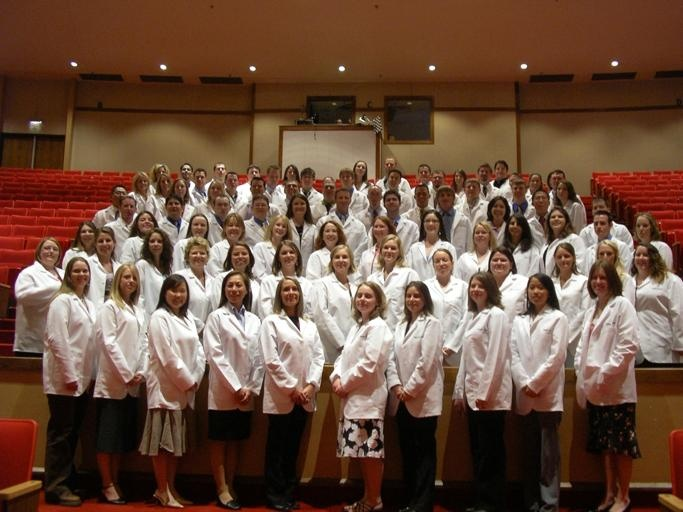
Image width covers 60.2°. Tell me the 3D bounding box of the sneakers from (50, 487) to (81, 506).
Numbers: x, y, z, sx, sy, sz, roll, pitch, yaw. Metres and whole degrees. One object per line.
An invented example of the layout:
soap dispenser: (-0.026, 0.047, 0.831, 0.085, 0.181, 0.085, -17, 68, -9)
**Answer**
sneakers: (-2.744, 2.393, 5.919, 0.295, 0.159, 0.144, 0, -11, 7)

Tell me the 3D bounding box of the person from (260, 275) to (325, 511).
person: (-0.522, 1.376, 6.057, 0.645, 2.281, 0.453, 2, 0, -11)

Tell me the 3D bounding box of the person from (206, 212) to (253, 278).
person: (-1.423, -0.048, 7.648, 0.503, 0.983, 0.470, 11, -26, -26)

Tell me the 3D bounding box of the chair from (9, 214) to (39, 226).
chair: (-5.849, -0.657, 10.884, 0.537, 0.187, 0.165, 3, 0, 11)

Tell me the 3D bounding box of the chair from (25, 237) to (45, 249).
chair: (-4.644, -0.193, 8.937, 0.153, 0.280, 0.202, 2, 1, -15)

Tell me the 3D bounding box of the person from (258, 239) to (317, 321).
person: (-0.629, 0.343, 7.003, 0.603, 0.596, 1.188, -2, -49, -13)

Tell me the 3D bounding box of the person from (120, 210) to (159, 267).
person: (-2.532, -0.101, 7.589, 0.469, 0.958, 0.256, -1, -32, -19)

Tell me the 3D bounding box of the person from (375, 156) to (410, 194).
person: (0.874, -1.427, 10.865, 0.690, 0.799, 0.449, 2, -15, 14)

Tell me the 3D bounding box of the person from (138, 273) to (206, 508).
person: (-1.709, 1.346, 6.086, 0.540, 2.440, 0.462, 2, 0, 0)

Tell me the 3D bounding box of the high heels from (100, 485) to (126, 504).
high heels: (-2.291, 2.404, 5.940, 0.117, 0.173, 0.335, 6, -11, -45)

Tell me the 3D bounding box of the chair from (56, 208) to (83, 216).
chair: (-5.366, -0.850, 11.670, 0.505, 0.180, 0.307, 3, 0, -24)

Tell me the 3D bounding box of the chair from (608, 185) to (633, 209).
chair: (5.628, -1.216, 11.926, 0.439, 0.644, 0.544, 1, -5, 12)

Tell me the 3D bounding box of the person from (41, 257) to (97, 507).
person: (-2.761, 1.234, 6.033, 0.484, 2.755, 0.530, 2, 0, -34)

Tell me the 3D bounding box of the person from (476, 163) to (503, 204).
person: (2.682, -1.331, 11.052, 0.380, 0.851, 0.460, 9, -3, 41)

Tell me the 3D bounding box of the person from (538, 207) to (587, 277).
person: (3.430, -0.479, 8.989, 0.360, 1.264, 0.461, 17, -18, -37)
